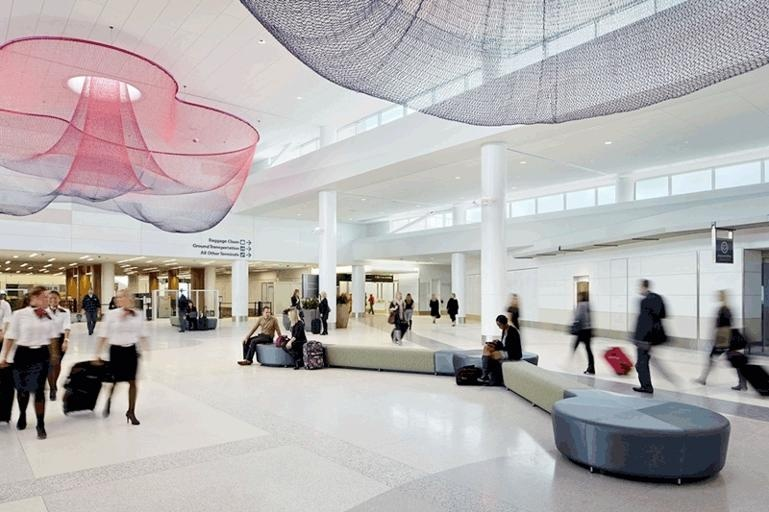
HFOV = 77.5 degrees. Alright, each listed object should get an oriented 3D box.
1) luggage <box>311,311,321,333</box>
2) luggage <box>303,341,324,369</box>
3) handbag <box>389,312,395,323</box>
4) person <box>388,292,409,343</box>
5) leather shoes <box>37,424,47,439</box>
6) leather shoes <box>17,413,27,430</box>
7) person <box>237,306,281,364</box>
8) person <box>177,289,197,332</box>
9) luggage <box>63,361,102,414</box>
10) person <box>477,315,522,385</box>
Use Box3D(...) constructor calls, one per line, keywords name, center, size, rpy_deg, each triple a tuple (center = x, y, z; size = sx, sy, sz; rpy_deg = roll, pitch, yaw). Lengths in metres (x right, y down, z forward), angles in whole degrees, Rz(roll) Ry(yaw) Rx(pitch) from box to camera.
Box3D(name="luggage", center=(-3.155, 3.157, 22.484), size=(0.449, 0.976, 1.135), rpy_deg=(4, -4, -8))
Box3D(name="luggage", center=(-1.872, 2.665, 12.666), size=(0.677, 0.849, 0.486), rpy_deg=(5, -15, -32))
Box3D(name="handbag", center=(0.270, 2.277, 17.742), size=(0.181, 0.407, 0.453), rpy_deg=(4, -3, -6))
Box3D(name="person", center=(0.506, 2.382, 18.026), size=(0.683, 1.846, 1.046), rpy_deg=(4, -3, 1))
Box3D(name="leather shoes", center=(-5.160, 2.657, 7.268), size=(0.124, 0.203, 0.298), rpy_deg=(6, -4, -34))
Box3D(name="leather shoes", center=(-5.773, 2.649, 7.709), size=(0.191, 0.280, 0.074), rpy_deg=(2, -3, 0))
Box3D(name="person", center=(-3.509, 2.272, 13.685), size=(1.332, 1.456, 0.995), rpy_deg=(-5, 1, -27))
Box3D(name="person", center=(-10.489, 3.123, 25.689), size=(0.971, 1.439, 2.666), rpy_deg=(5, -4, -24))
Box3D(name="luggage", center=(-5.208, 2.288, 8.342), size=(0.789, 0.929, 0.275), rpy_deg=(7, 2, -29))
Box3D(name="person", center=(2.583, 2.101, 10.525), size=(0.998, 1.410, 0.656), rpy_deg=(-6, -9, 22))
